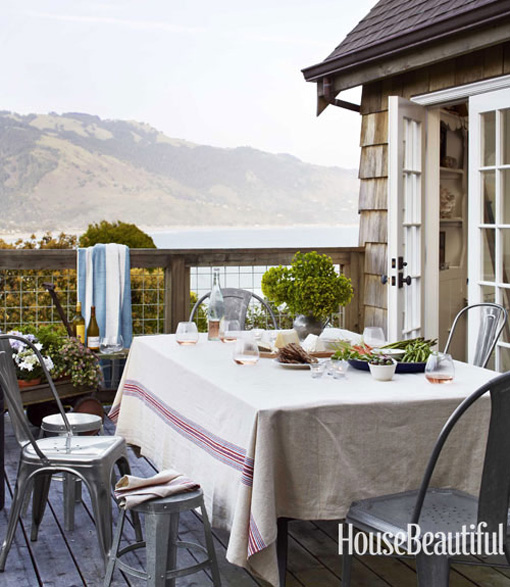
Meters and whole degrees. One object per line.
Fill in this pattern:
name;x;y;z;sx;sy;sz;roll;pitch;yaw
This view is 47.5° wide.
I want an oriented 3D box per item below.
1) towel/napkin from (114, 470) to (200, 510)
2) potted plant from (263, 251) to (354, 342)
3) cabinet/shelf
towel/napkin;-0.248;0.492;1.480;0.208;0.069;0.145;-5;5;-27
potted plant;0.213;0.038;2.552;0.347;0.414;0.325;2;-3;-22
cabinet/shelf;1.690;-0.906;4.963;0.217;1.406;0.658;1;5;31
